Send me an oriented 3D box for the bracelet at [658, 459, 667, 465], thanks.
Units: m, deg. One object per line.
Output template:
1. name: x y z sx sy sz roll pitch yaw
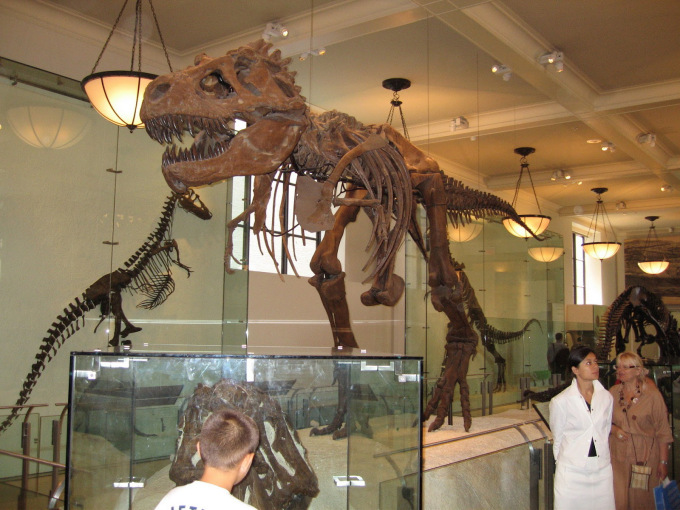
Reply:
1. bracelet: 2.478 1.588 4.511 0.046 0.015 0.047 -1 -3 1

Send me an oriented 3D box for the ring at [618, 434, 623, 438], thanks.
1. ring: 2.215 1.430 4.647 0.037 0.037 0.009 8 0 24
